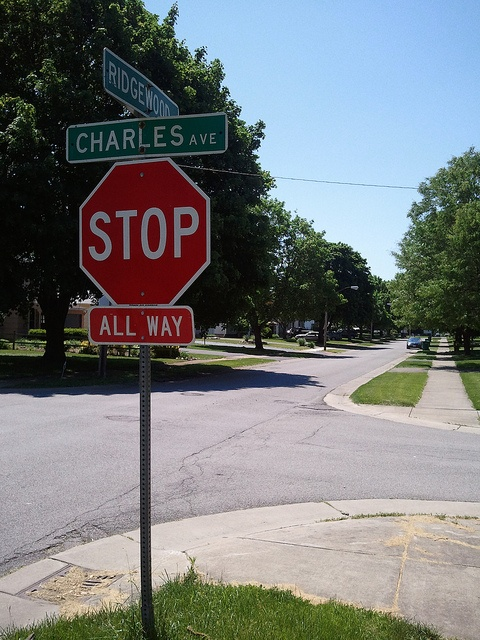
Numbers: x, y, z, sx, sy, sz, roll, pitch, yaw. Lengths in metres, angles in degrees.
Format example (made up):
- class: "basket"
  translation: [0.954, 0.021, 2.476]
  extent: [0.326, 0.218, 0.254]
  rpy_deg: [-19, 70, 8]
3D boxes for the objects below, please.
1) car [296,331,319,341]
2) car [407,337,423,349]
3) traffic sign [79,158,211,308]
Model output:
- class: "car"
  translation: [7.980, 2.365, 80.949]
  extent: [2.400, 1.298, 1.575]
  rpy_deg: [1, 7, -6]
- class: "car"
  translation: [16.789, 2.248, 66.441]
  extent: [0.809, 0.805, 2.116]
  rpy_deg: [-2, -6, 16]
- class: "traffic sign"
  translation: [-0.557, -0.496, 3.963]
  extent: [0.838, 0.761, 0.081]
  rpy_deg: [1, 0, 26]
